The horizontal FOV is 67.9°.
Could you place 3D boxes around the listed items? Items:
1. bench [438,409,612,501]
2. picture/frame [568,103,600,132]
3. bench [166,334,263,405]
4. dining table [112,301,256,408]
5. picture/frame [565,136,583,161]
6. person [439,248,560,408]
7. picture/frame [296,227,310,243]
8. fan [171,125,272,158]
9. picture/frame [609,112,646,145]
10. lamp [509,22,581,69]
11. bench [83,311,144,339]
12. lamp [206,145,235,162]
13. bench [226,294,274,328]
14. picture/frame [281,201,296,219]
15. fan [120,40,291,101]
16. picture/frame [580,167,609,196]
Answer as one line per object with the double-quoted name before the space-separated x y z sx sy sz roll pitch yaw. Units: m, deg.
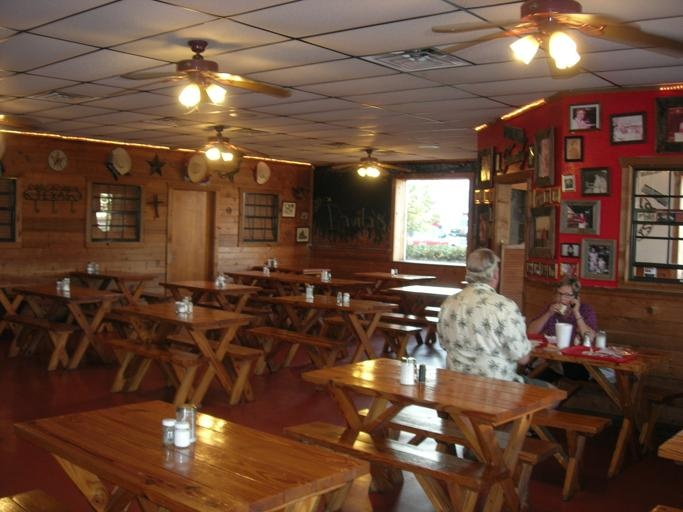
"bench" 1.552 1.351 3.926 0.688 0.562 1.182 -9 11 -39
"picture/frame" 2.660 -1.515 5.530 0.396 0.285 0.039 16 13 26
"bench" -1.416 1.273 5.570 0.401 0.403 1.139 2 -1 -43
"dining table" -1.903 1.038 5.857 1.784 0.788 1.142 3 3 41
"picture/frame" 2.571 -1.189 5.624 0.194 0.223 0.035 2 1 40
"person" 1.381 0.500 3.939 1.212 0.997 0.970 -2 3 -1
"picture/frame" -1.002 -0.543 13.135 0.108 0.402 0.384 2 1 38
"fan" -2.063 -1.773 8.200 1.250 0.239 1.149 -1 2 -39
"picture/frame" 3.017 -1.341 5.319 0.519 0.342 0.050 3 1 34
"lamp" 1.412 -1.359 3.417 0.457 0.156 0.375 5 -9 28
"bench" -3.208 0.962 7.122 0.996 0.177 0.368 0 -1 45
"lamp" -1.870 -1.587 7.861 0.423 0.182 0.275 1 1 -13
"bench" -1.381 0.830 7.637 0.355 0.221 0.893 -3 5 -34
"picture/frame" -1.341 -1.176 12.842 0.426 0.405 0.031 1 1 -42
"fan" -1.122 -1.530 4.378 1.042 0.283 0.912 5 7 35
"picture/frame" 2.757 -0.812 5.500 0.432 0.317 0.035 5 6 43
